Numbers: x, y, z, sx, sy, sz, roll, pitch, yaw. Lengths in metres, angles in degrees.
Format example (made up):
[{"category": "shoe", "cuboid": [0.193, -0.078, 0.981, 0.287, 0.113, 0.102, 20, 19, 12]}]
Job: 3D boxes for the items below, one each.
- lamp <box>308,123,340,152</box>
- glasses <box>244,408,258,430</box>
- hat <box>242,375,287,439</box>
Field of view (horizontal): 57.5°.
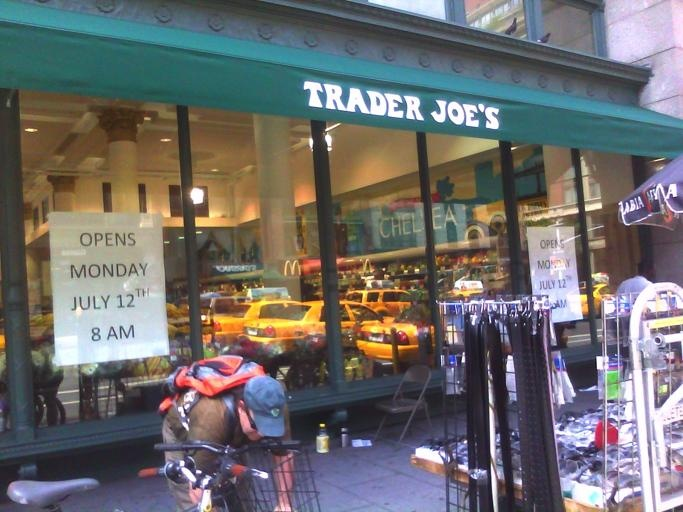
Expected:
[{"category": "lamp", "cuboid": [-0.215, -1.711, 8.994, 0.532, 0.339, 0.168, -6, -3, -31]}, {"category": "glasses", "cuboid": [-0.583, 1.071, 4.175, 0.043, 0.160, 0.094, -26, -3, -16]}, {"category": "hat", "cuboid": [-0.505, 0.967, 4.077, 0.249, 0.411, 0.180, -5, -31, -30]}]
